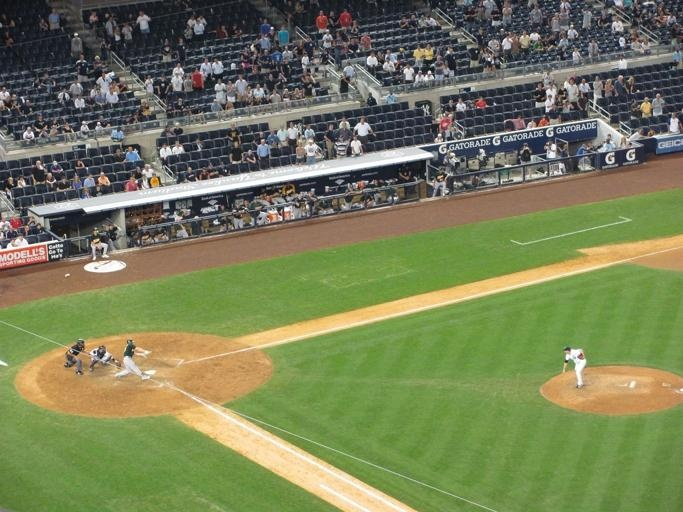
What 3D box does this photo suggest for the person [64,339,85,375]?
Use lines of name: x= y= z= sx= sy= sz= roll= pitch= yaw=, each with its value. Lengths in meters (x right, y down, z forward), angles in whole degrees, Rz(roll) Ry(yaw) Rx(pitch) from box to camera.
person: x=-10.814 y=4.082 z=55.595 sx=0.880 sy=1.357 sz=1.478 roll=-9 pitch=13 yaw=-12

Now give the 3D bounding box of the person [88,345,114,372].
person: x=-9.743 y=4.110 z=55.700 sx=1.075 sy=1.009 sz=0.906 roll=-8 pitch=13 yaw=-7
